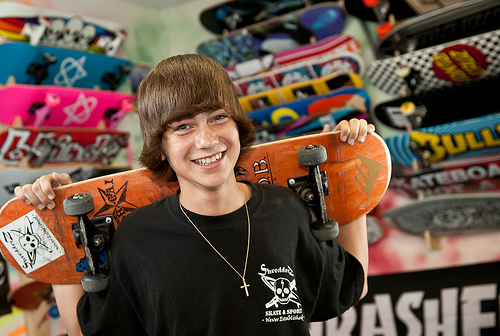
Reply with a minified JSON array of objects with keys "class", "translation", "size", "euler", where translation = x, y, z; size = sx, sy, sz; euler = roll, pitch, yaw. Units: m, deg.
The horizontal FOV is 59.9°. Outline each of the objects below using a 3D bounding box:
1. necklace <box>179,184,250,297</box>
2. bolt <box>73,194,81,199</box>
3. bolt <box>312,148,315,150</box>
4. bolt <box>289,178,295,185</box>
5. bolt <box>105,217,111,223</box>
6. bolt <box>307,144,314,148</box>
[{"class":"necklace","translation":[-0.222,0.470,2.654],"size":[0.290,0.630,0.058],"euler":[-19,-11,-12]},{"class":"bolt","translation":[-1.152,0.198,2.877],"size":[0.012,0.018,0.045],"euler":[-6,3,8]},{"class":"bolt","translation":[0.423,-0.118,2.914],"size":[0.020,0.011,0.021],"euler":[-9,-2,11]},{"class":"bolt","translation":[0.313,0.110,3.282],"size":[0.044,0.046,0.015],"euler":[-1,-3,3]},{"class":"bolt","translation":[-1.069,0.397,3.260],"size":[0.041,0.042,0.010],"euler":[0,-4,-8]},{"class":"bolt","translation":[0.416,-0.142,2.997],"size":[0.039,0.018,0.129],"euler":[-1,0,-1]}]
